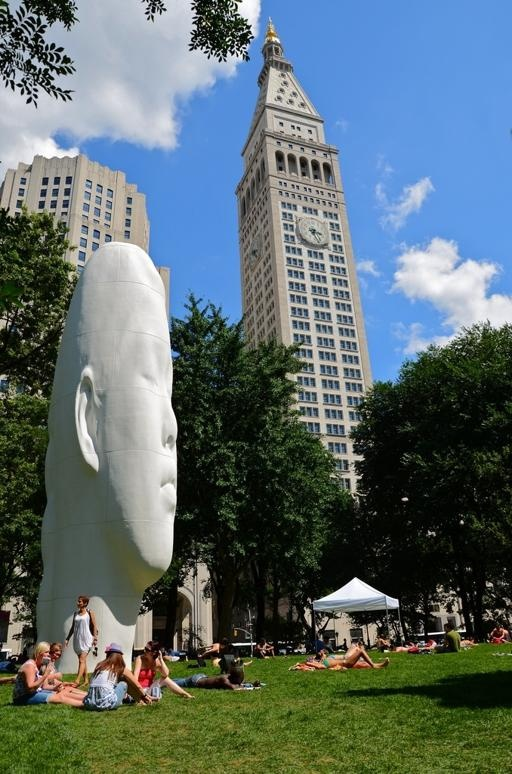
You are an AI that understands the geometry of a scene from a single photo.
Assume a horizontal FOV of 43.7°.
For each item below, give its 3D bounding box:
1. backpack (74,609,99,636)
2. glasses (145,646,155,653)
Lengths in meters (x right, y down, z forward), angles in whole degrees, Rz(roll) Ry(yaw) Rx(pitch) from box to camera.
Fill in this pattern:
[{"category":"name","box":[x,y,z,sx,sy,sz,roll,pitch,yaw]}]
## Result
[{"category":"backpack","box":[-3.186,4.434,11.842,0.442,0.592,0.364,3,-19,-16]},{"category":"glasses","box":[-1.731,4.278,10.436,0.131,0.132,0.096,-20,-7,-12]}]
